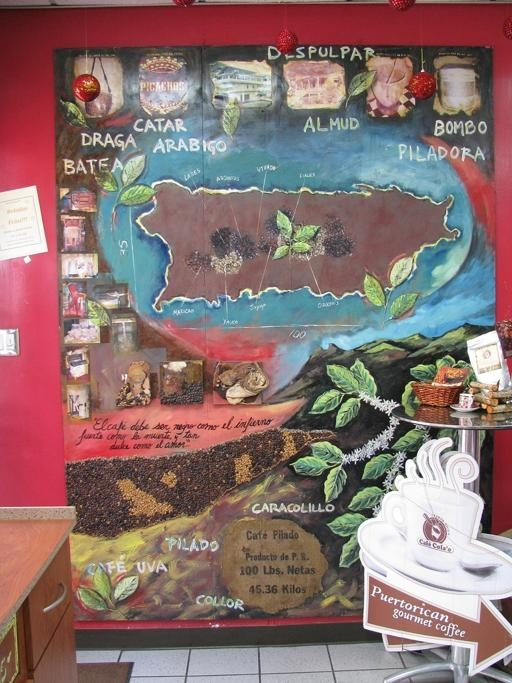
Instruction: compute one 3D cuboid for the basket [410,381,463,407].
[{"bbox_3d":[0.745,0.215,2.478,0.124,0.064,0.151,1,0,22],"label":"basket"}]
